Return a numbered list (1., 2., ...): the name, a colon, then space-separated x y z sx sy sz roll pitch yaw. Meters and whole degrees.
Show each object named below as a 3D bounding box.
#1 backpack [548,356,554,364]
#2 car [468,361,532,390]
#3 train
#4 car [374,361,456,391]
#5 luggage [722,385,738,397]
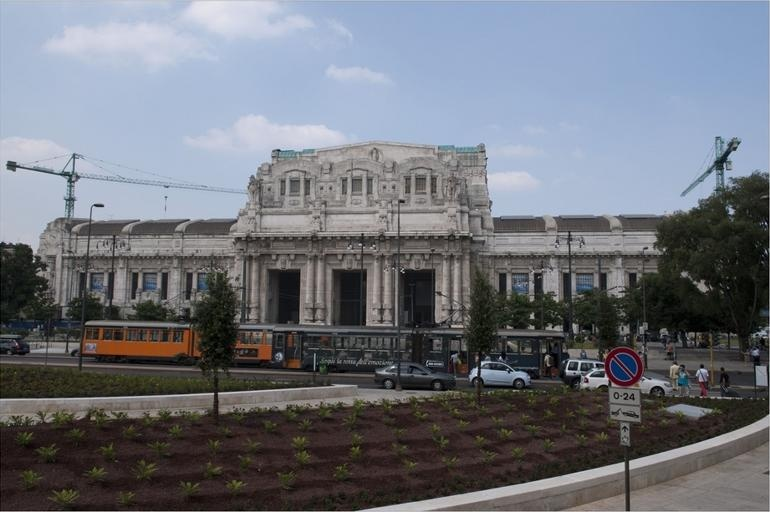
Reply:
1. backpack: 12.270 7.795 72.135 0.095 0.615 0.394 -6 -9 41
2. car: 7.746 8.227 65.565 3.914 1.583 2.286 -2 -4 10
3. train: -5.015 7.170 74.225 35.680 4.771 3.114 -1 -7 4
4. car: 1.934 8.177 64.972 4.998 1.431 2.069 -1 -3 7
5. luggage: 22.765 9.070 64.466 0.720 0.319 2.991 -11 -10 12
